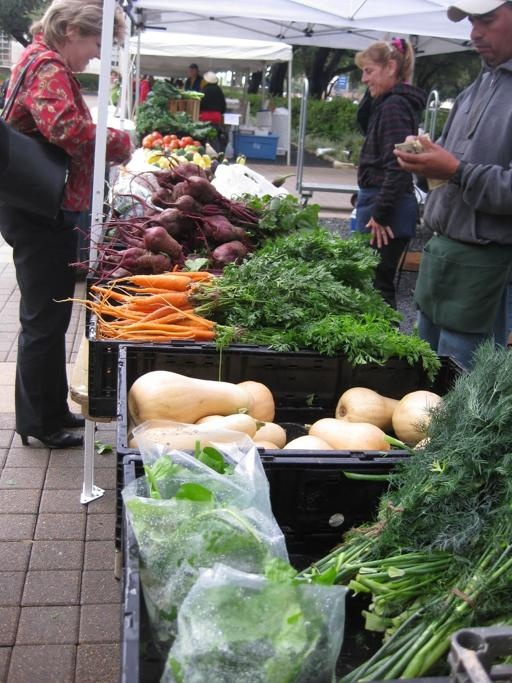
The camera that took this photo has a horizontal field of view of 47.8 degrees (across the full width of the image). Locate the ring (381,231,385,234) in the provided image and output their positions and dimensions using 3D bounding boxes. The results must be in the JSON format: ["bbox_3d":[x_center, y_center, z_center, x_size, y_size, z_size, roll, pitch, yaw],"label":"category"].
[{"bbox_3d":[0.922,-0.797,4.191,0.021,0.017,0.005,2,3,-4],"label":"ring"}]
